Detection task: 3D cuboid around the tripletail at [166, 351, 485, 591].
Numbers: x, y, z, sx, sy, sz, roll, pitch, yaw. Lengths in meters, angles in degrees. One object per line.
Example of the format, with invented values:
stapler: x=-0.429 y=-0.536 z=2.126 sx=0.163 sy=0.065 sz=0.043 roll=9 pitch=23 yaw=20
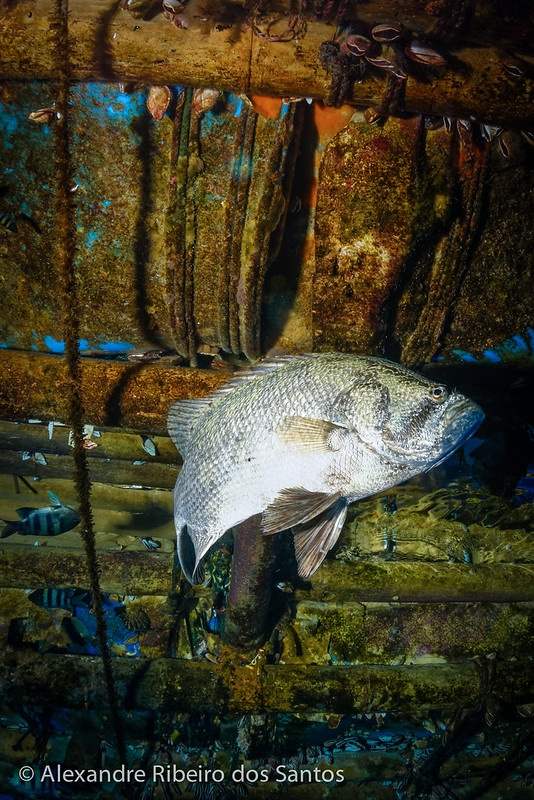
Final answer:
tripletail: x=0.285 y=0.385 z=4.823 sx=1.773 sy=0.995 sz=0.449 roll=-10 pitch=-7 yaw=22
